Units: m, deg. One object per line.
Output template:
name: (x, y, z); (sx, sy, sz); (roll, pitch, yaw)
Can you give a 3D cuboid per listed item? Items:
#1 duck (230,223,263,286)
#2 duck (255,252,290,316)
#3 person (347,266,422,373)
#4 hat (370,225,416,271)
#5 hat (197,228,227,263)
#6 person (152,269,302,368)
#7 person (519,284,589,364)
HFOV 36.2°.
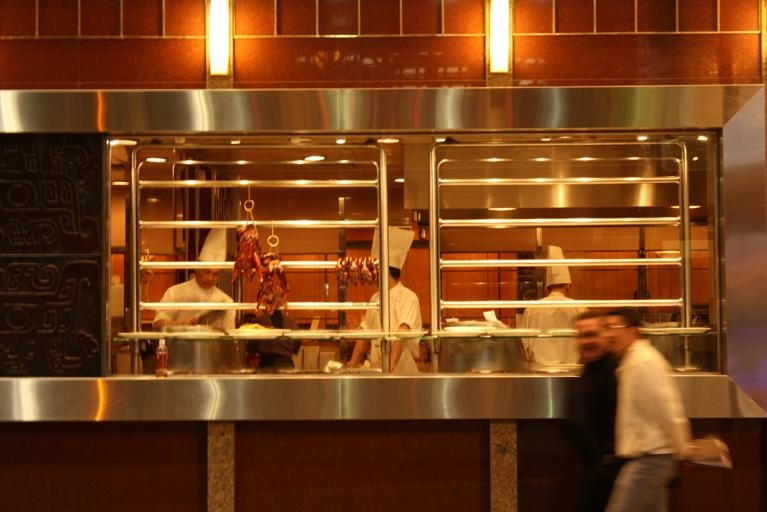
duck: (-1.172, -0.067, 10.075); (0.247, 0.439, 0.232); (0, -4, -8)
duck: (-0.963, 0.232, 10.058); (0.250, 0.518, 0.228); (0, -4, -7)
person: (0.010, 0.531, 10.101); (0.608, 0.915, 0.850); (-1, -4, 1)
hat: (0.109, -0.100, 10.271); (0.352, 0.352, 0.098); (14, 9, -8)
hat: (-1.517, -0.109, 10.371); (0.250, 0.301, 0.157); (0, -4, -11)
person: (-1.302, 0.571, 10.054); (1.074, 1.137, 0.779); (-4, -7, 14)
person: (1.456, 0.573, 9.974); (0.586, 0.838, 0.297); (-1, -2, 16)
